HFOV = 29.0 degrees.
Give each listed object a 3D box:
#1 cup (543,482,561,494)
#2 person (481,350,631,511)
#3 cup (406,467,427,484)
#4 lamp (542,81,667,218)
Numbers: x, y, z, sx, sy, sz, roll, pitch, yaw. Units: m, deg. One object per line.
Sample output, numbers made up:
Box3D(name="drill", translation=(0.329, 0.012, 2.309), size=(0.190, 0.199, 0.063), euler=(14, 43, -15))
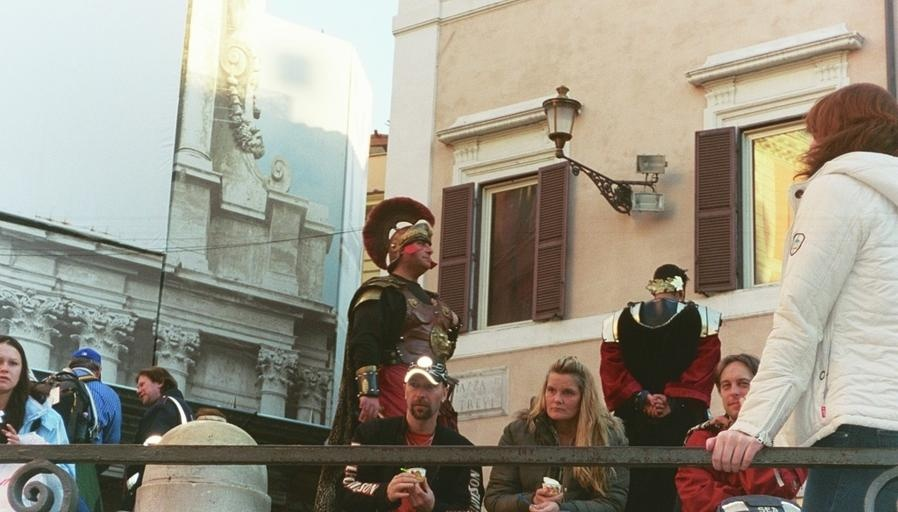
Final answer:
Box3D(name="cup", translation=(1.056, 2.281, 17.278), size=(0.177, 0.085, 0.081), euler=(6, -14, -21))
Box3D(name="person", translation=(1.127, 1.779, 17.707), size=(1.401, 1.604, 0.928), euler=(0, -14, 6))
Box3D(name="cup", translation=(-0.305, 2.123, 17.061), size=(0.171, 0.090, 0.154), euler=(4, -25, -3))
Box3D(name="lamp", translation=(2.113, -1.391, 23.239), size=(1.657, 1.642, 0.716), euler=(1, -14, 2))
